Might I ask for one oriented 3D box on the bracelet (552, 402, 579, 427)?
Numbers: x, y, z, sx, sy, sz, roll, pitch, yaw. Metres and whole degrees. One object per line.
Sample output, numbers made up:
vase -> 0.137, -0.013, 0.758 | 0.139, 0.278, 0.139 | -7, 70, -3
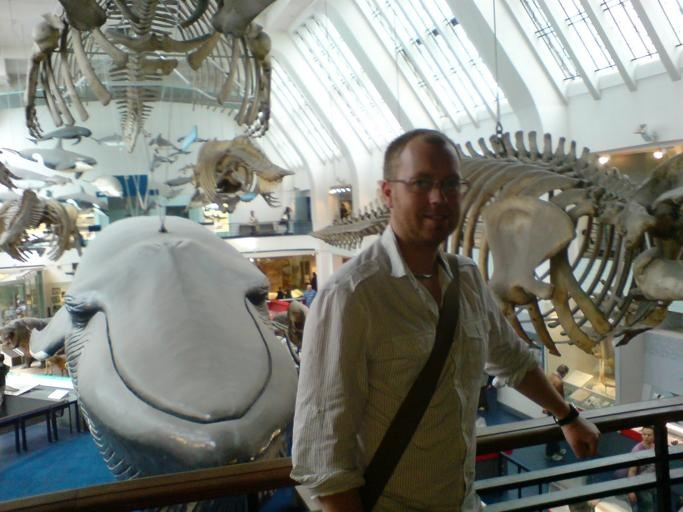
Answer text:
bracelet -> 0.947, 0.686, 2.360 | 0.068, 0.050, 0.076 | -37, -5, 3
